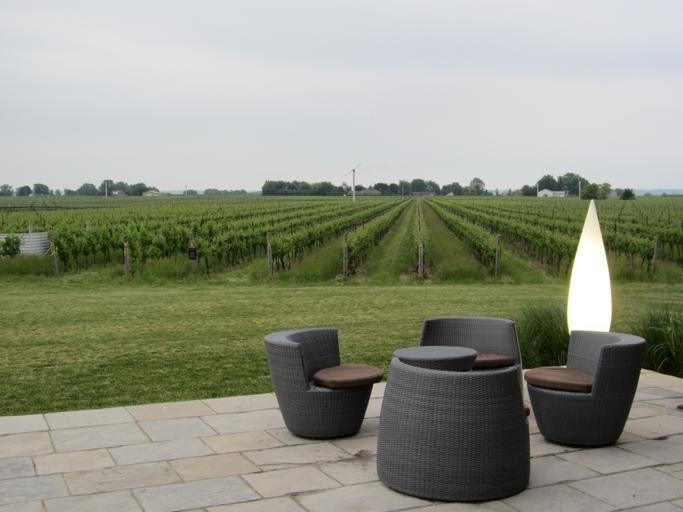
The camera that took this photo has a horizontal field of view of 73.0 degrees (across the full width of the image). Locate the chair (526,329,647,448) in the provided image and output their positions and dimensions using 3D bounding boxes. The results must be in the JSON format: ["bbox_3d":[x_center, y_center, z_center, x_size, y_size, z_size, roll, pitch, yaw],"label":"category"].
[{"bbox_3d":[2.302,1.274,4.389,1.002,0.962,1.106,2,-3,-3],"label":"chair"}]

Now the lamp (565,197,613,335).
[{"bbox_3d":[2.701,0.111,5.047,0.432,1.386,0.315,-1,1,3],"label":"lamp"}]

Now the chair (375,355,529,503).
[{"bbox_3d":[0.819,1.302,3.619,1.139,0.857,1.172,1,-6,4],"label":"chair"}]

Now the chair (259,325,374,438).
[{"bbox_3d":[-0.117,1.211,4.615,1.022,0.963,1.166,-10,-4,21],"label":"chair"}]
